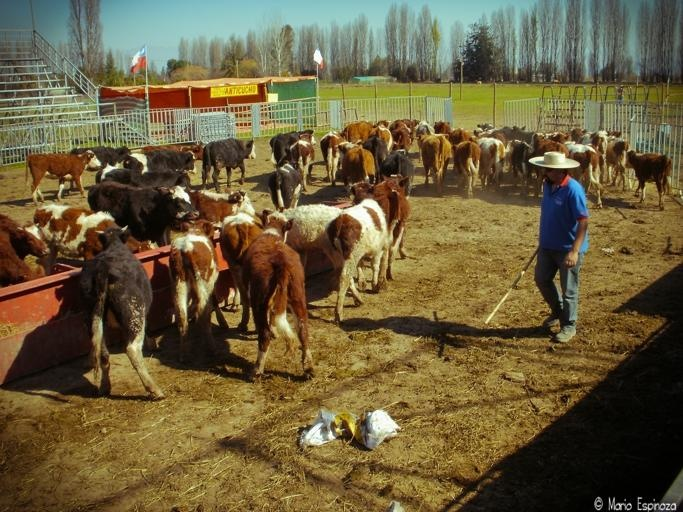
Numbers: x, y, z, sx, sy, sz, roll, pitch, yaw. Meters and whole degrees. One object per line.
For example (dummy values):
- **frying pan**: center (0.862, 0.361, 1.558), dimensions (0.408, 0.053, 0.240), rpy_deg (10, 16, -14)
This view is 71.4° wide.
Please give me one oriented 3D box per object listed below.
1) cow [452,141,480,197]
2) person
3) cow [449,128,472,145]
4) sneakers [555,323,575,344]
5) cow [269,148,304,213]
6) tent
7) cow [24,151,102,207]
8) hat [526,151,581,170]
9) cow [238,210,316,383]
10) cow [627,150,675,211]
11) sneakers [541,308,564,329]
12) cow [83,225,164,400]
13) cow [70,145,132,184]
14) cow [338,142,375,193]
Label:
- **cow**: center (3.871, -2.809, 14.821), dimensions (0.766, 1.613, 1.665), rpy_deg (-1, 15, 9)
- **person**: center (2.817, -0.140, 6.125), dimensions (0.553, 2.358, 0.763), rpy_deg (-5, 15, -3)
- **cow**: center (4.181, -4.381, 17.035), dimensions (0.417, 0.717, 1.395), rpy_deg (-5, 21, 10)
- **sneakers**: center (2.855, 0.995, 6.097), dimensions (0.377, 0.160, 0.134), rpy_deg (-8, 7, -43)
- **cow**: center (-1.412, -1.692, 11.617), dimensions (0.692, 1.089, 1.682), rpy_deg (-3, 15, 1)
- **tent**: center (-8.347, -9.967, 30.906), dimensions (12.310, 4.364, 15.959), rpy_deg (-9, 16, -18)
- **cow**: center (-8.373, -2.513, 14.415), dimensions (2.004, 1.333, 2.290), rpy_deg (-12, 17, -28)
- **hat**: center (2.750, -1.267, 6.283), dimensions (0.659, 0.178, 0.671), rpy_deg (4, 20, 13)
- **cow**: center (-0.793, 0.569, 5.700), dimensions (0.717, 1.483, 1.099), rpy_deg (-7, 16, -11)
- **cow**: center (8.005, -2.011, 12.359), dimensions (0.499, 1.334, 1.393), rpy_deg (-3, 15, 3)
- **sneakers**: center (2.834, 0.855, 6.438), dimensions (0.288, 0.147, 0.172), rpy_deg (-30, 40, -23)
- **cow**: center (-2.486, 0.675, 5.323), dimensions (0.726, 1.629, 1.184), rpy_deg (-11, 17, -24)
- **cow**: center (-7.779, -3.156, 15.706), dimensions (0.912, 1.199, 2.351), rpy_deg (13, 20, 36)
- **cow**: center (0.381, -2.918, 14.130), dimensions (0.691, 1.177, 2.261), rpy_deg (-6, 27, -3)
